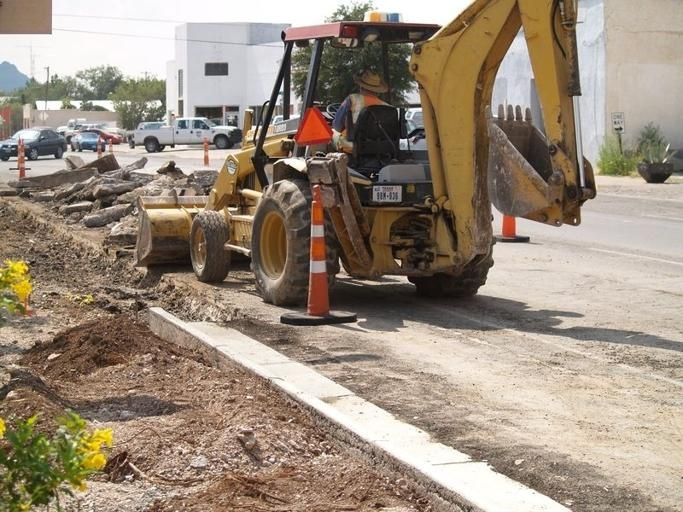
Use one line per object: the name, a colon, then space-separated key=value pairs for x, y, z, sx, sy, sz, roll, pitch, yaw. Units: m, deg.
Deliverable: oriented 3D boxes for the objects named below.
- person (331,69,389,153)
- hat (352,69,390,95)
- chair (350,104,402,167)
person: x=0.241 y=-1.809 z=7.986 sx=0.663 sy=1.083 sz=0.701 roll=12 pitch=3 yaw=-20
hat: x=0.333 y=-2.283 z=8.073 sx=0.335 sy=0.132 sz=0.370 roll=5 pitch=39 yaw=-33
chair: x=0.394 y=-1.555 z=8.041 sx=0.664 sy=0.824 sz=0.866 roll=-3 pitch=20 yaw=-8
